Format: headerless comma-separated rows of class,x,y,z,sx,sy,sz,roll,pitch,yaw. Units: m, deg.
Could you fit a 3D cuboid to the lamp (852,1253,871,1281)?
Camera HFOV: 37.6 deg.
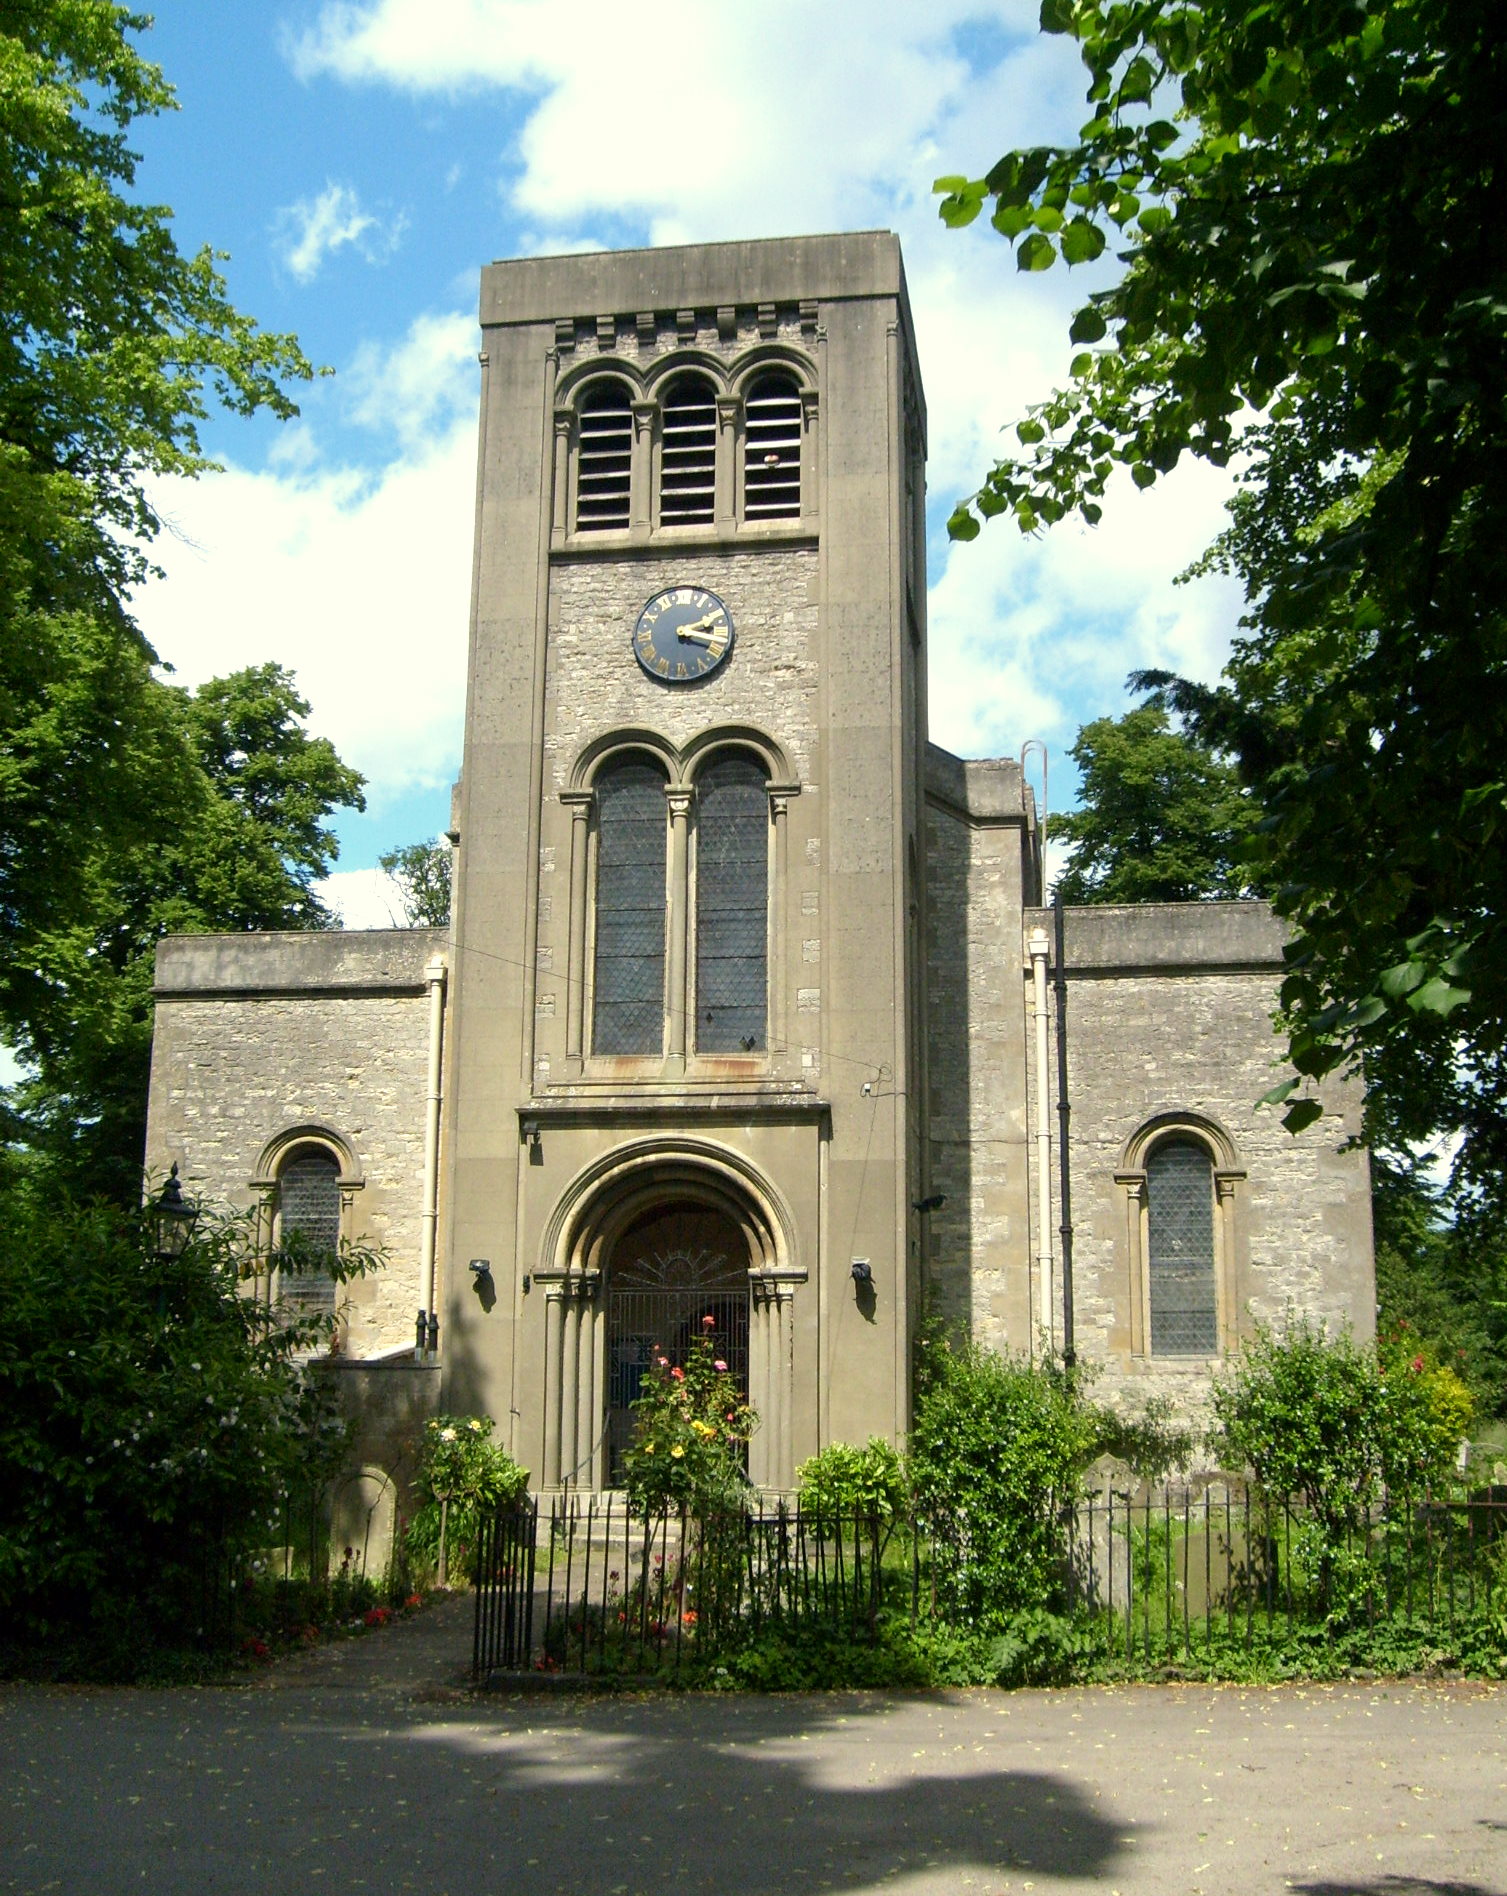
lamp,1.122,3.408,23.488,0.215,0.177,0.193,0,-1,12

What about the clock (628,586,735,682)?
clock,-0.820,-3.632,25.963,1.430,1.194,0.074,0,-14,8
